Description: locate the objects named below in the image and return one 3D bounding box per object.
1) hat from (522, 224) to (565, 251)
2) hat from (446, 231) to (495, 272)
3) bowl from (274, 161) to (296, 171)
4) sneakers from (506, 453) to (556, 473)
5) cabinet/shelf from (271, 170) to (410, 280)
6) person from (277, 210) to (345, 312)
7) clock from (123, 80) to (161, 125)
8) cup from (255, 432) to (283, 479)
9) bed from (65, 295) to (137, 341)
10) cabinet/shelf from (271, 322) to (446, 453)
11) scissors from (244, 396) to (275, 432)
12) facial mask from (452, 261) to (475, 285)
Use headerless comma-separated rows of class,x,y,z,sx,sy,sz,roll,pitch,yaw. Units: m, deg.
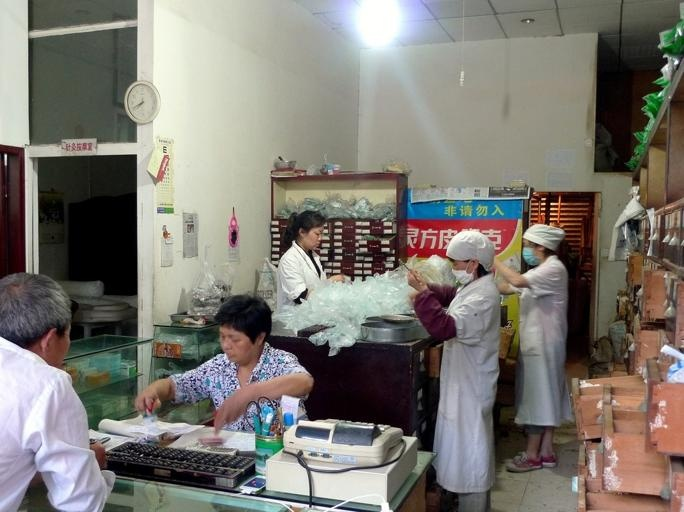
hat,1.675,-0.184,4.628,0.259,0.155,0.202,15,12,26
hat,0.839,-0.058,3.610,0.293,0.276,0.235,-3,22,1
bowl,-0.608,-0.967,5.920,0.215,0.134,0.260,-1,0,-12
sneakers,1.534,1.613,4.559,0.427,0.182,0.158,-1,-4,-8
cabinet/shelf,0.357,-0.228,6.334,1.299,1.314,0.492,-4,24,-35
person,-0.335,0.018,4.665,0.406,0.796,0.410,0,0,-8
clock,-1.600,-1.231,4.484,0.292,0.313,0.302,-10,33,-32
cup,-0.331,0.793,2.288,0.119,0.145,0.125,5,-14,1
bed,-2.301,0.641,5.746,0.775,0.405,0.579,-2,-10,21
cabinet/shelf,0.339,0.913,3.745,0.514,0.746,0.758,-3,-7,24
scissors,-0.355,0.669,2.438,0.047,0.214,0.127,9,-17,-41
facial mask,0.778,0.089,3.553,0.116,0.156,0.093,4,-11,15
